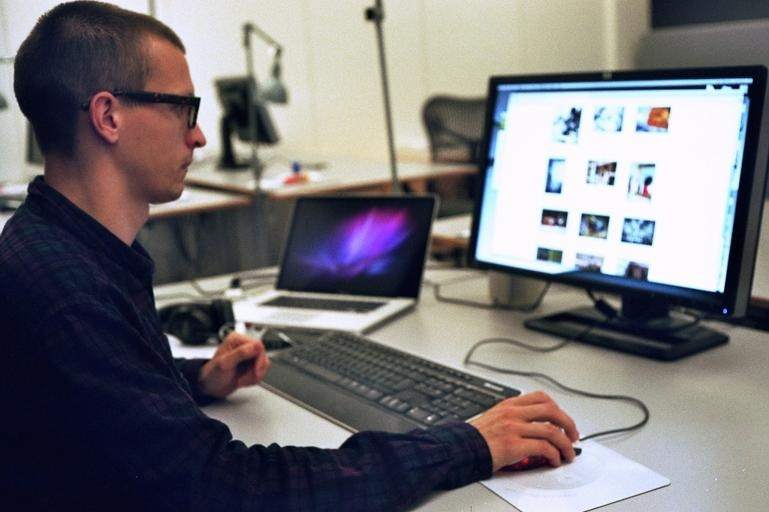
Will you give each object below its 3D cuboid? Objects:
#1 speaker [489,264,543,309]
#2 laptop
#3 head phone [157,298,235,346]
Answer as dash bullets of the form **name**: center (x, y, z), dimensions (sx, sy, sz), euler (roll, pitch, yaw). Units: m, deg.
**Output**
- **speaker**: center (0.317, 0.070, 1.522), dimensions (0.112, 0.093, 0.093), euler (6, 12, 38)
- **laptop**: center (-0.080, 0.009, 1.597), dimensions (0.431, 0.252, 0.380), euler (5, 8, 29)
- **head phone**: center (-0.429, 0.142, 1.459), dimensions (0.118, 0.060, 0.147), euler (-2, 1, -8)
